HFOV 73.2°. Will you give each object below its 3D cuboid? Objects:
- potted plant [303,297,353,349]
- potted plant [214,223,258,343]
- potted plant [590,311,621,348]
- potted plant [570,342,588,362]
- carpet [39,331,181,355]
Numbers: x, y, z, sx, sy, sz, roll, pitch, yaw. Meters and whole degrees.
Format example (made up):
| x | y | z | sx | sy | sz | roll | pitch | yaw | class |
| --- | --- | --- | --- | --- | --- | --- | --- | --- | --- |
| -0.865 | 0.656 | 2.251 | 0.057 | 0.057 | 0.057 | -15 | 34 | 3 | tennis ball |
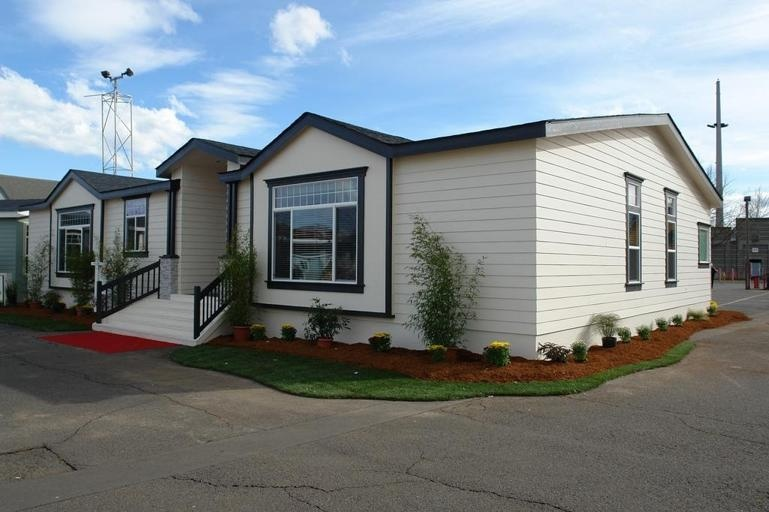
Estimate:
| x | y | z | sx | sy | sz | roll | pitch | yaw | class |
| --- | --- | --- | --- | --- | --- | --- | --- | --- | --- |
| -1.362 | 1.618 | 12.317 | 1.135 | 1.036 | 0.959 | -5 | -9 | 37 | potted plant |
| -3.813 | 0.685 | 13.633 | 0.915 | 2.913 | 1.125 | -2 | 4 | -14 | potted plant |
| 5.066 | 1.682 | 11.975 | 0.765 | 0.808 | 0.835 | -1 | -1 | 20 | potted plant |
| 3.903 | 1.930 | 10.441 | 0.337 | 0.410 | 0.391 | -2 | -3 | 39 | potted plant |
| -7.262 | 2.251 | 13.465 | 4.028 | 0.168 | 1.729 | 2 | 5 | 34 | carpet |
